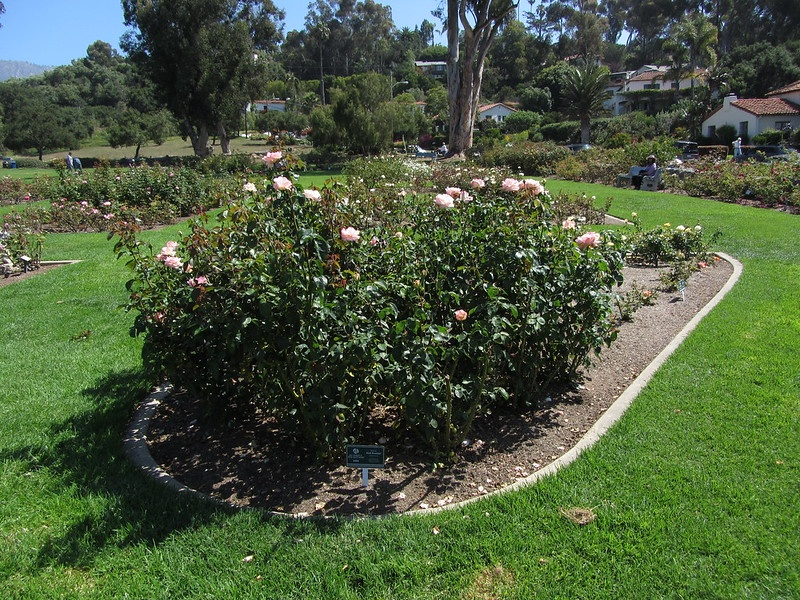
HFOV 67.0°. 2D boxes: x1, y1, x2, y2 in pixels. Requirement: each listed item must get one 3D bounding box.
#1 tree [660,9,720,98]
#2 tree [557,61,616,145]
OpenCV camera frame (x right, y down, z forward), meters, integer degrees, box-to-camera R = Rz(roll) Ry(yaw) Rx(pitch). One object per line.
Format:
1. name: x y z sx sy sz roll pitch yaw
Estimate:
1. tree: 23.188 -19.609 48.474 3.221 5.735 5.202 4 22 21
2. tree: 12.931 -13.500 42.158 2.712 5.180 5.643 2 22 17
